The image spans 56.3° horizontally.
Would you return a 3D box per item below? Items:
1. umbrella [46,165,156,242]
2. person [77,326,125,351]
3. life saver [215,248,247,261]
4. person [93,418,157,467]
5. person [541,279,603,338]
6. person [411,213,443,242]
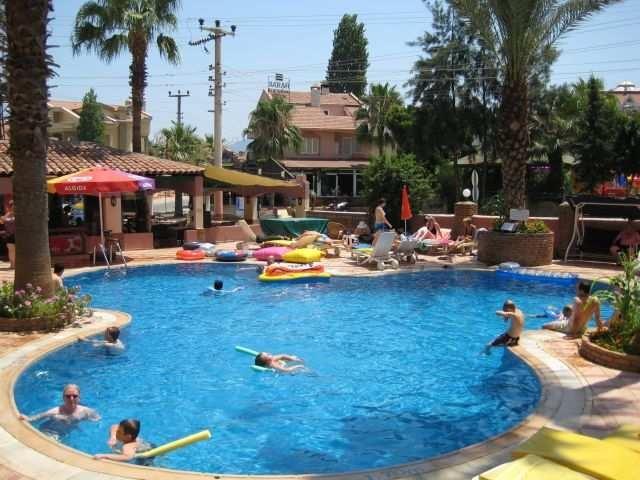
[{"bbox_3d":[-7.279,-1.253,19.452,2.785,2.312,2.834,3,6,31],"label":"umbrella"},{"bbox_3d":[-4.159,1.876,11.621,0.787,0.433,0.584,2,12,12],"label":"person"},{"bbox_3d":[-3.100,0.553,20.760,1.033,0.336,0.672,0,11,3],"label":"life saver"},{"bbox_3d":[-2.635,2.766,8.082,0.545,0.829,0.642,10,13,28],"label":"person"},{"bbox_3d":[4.962,1.341,11.575,0.598,1.148,1.179,-2,12,-8],"label":"person"},{"bbox_3d":[4.242,-0.432,22.525,0.701,0.907,1.489,0,0,42],"label":"person"}]
